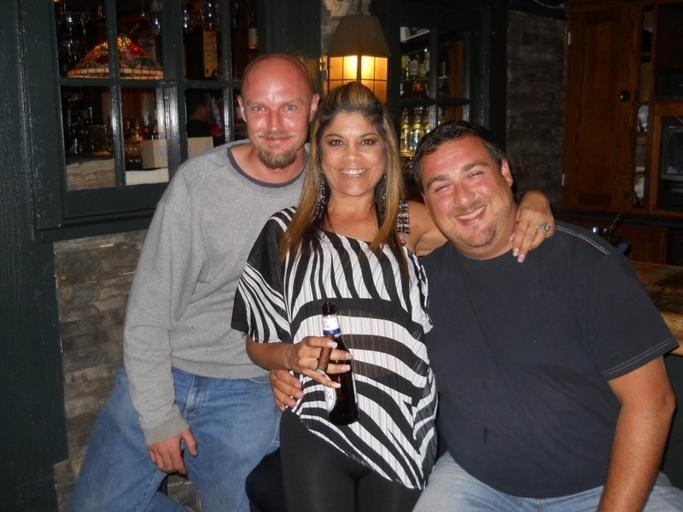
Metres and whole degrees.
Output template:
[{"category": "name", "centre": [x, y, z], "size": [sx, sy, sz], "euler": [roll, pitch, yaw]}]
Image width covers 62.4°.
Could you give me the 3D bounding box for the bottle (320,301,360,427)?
[{"category": "bottle", "centre": [-0.009, 0.383, 2.004], "size": [0.107, 0.493, 0.245], "euler": [-1, 10, 12]}]
